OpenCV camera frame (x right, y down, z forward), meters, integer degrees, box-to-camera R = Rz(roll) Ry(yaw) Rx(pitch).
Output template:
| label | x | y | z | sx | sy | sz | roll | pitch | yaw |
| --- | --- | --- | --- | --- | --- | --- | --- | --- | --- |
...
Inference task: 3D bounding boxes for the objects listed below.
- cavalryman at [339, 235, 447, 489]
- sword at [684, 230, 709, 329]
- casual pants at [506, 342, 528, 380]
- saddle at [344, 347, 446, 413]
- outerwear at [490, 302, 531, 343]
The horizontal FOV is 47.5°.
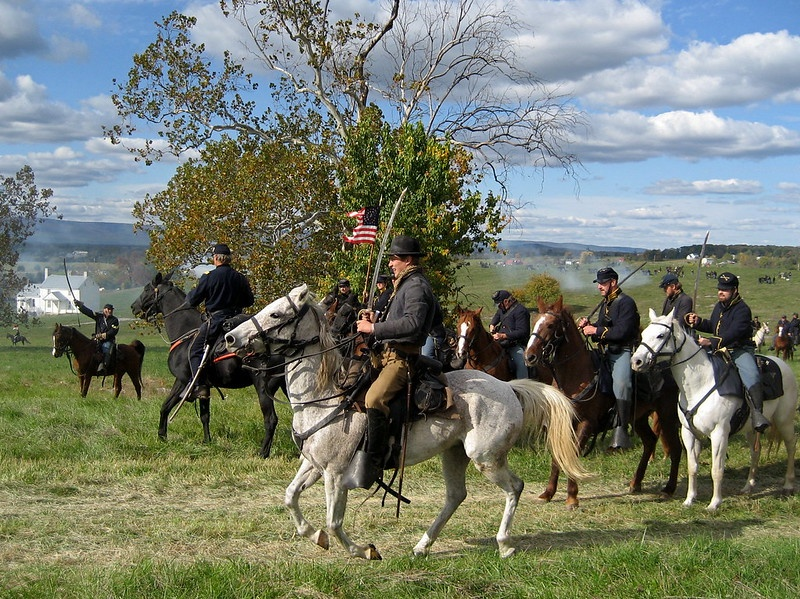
| label | x | y | z | sx | sy | sz | roll | pitch | yaw |
| --- | --- | --- | --- | --- | --- | --- | --- | --- | --- |
| cavalryman | -0.125 | 0.950 | 14.497 | 1.369 | 3.942 | 0.806 | 0 | 4 | -14 |
| sword | 13.787 | -0.633 | 42.510 | 0.680 | 6.429 | 0.231 | 4 | -3 | 20 |
| casual pants | 2.629 | 1.418 | 20.589 | 0.220 | 0.804 | 0.629 | -14 | -7 | 44 |
| saddle | -0.019 | 1.304 | 14.538 | 1.405 | 1.011 | 0.641 | 4 | -41 | -6 |
| outerwear | 2.681 | 0.566 | 21.918 | 0.817 | 1.093 | 1.382 | 3 | -4 | -18 |
